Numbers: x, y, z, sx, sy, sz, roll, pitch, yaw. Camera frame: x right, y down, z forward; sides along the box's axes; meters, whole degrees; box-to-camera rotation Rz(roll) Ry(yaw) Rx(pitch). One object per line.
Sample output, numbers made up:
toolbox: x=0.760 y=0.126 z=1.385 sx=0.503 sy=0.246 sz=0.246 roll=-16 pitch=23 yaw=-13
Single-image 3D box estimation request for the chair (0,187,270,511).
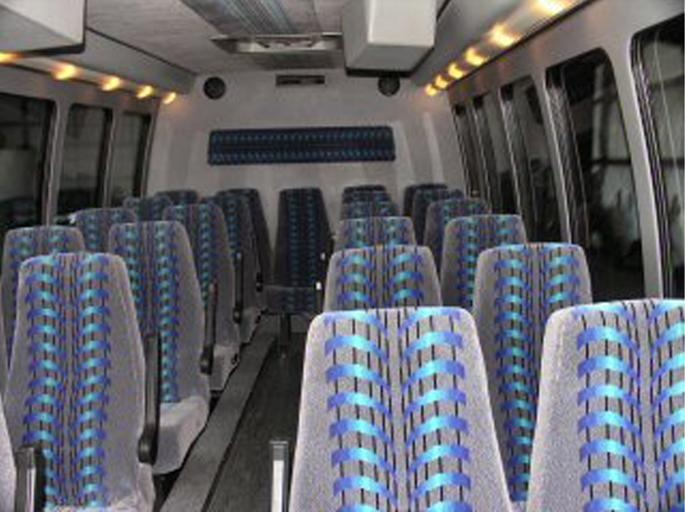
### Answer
chair: x=-0.739 y=0.413 z=3.165 sx=0.726 sy=1.287 sz=1.456 roll=-1 pitch=1 yaw=-3
